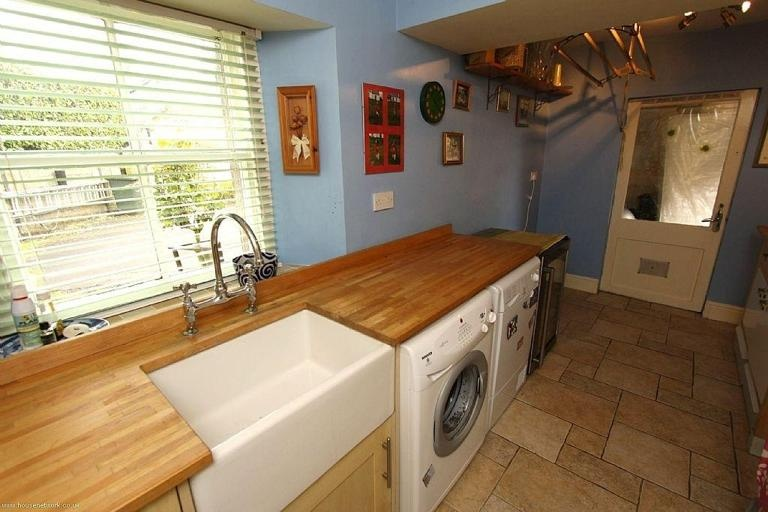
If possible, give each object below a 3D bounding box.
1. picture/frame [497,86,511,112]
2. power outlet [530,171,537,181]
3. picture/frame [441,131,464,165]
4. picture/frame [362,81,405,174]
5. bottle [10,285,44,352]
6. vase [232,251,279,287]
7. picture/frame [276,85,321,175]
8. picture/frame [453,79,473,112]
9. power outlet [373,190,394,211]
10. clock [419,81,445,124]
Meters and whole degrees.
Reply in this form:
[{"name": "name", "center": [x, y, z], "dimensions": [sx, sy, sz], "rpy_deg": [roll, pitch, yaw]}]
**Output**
[{"name": "picture/frame", "center": [1.035, -1.377, 4.059], "dimensions": [0.064, 0.214, 0.277], "rpy_deg": [5, 20, 28]}, {"name": "power outlet", "center": [1.582, -0.853, 4.903], "dimensions": [0.032, 0.123, 0.203], "rpy_deg": [6, 20, 29]}, {"name": "picture/frame", "center": [0.534, -0.845, 3.608], "dimensions": [0.021, 0.260, 0.296], "rpy_deg": [8, 15, 37]}, {"name": "picture/frame", "center": [-0.022, -0.878, 3.058], "dimensions": [0.044, 0.666, 0.518], "rpy_deg": [15, 22, 38]}, {"name": "bottle", "center": [-1.773, 0.305, 2.274], "dimensions": [0.122, 0.316, 0.102], "rpy_deg": [12, 24, 40]}, {"name": "vase", "center": [-0.740, 0.064, 2.669], "dimensions": [0.198, 0.175, 0.223], "rpy_deg": [-9, 20, -24]}, {"name": "picture/frame", "center": [-0.546, -0.797, 2.918], "dimensions": [0.248, 0.534, 0.098], "rpy_deg": [0, 18, 13]}, {"name": "picture/frame", "center": [0.598, -1.261, 3.589], "dimensions": [0.025, 0.196, 0.262], "rpy_deg": [10, 21, 34]}, {"name": "power outlet", "center": [-0.011, -0.384, 3.179], "dimensions": [0.017, 0.135, 0.213], "rpy_deg": [13, 24, 42]}, {"name": "clock", "center": [0.364, -1.128, 3.368], "dimensions": [0.037, 0.288, 0.287], "rpy_deg": [8, 19, 39]}]
